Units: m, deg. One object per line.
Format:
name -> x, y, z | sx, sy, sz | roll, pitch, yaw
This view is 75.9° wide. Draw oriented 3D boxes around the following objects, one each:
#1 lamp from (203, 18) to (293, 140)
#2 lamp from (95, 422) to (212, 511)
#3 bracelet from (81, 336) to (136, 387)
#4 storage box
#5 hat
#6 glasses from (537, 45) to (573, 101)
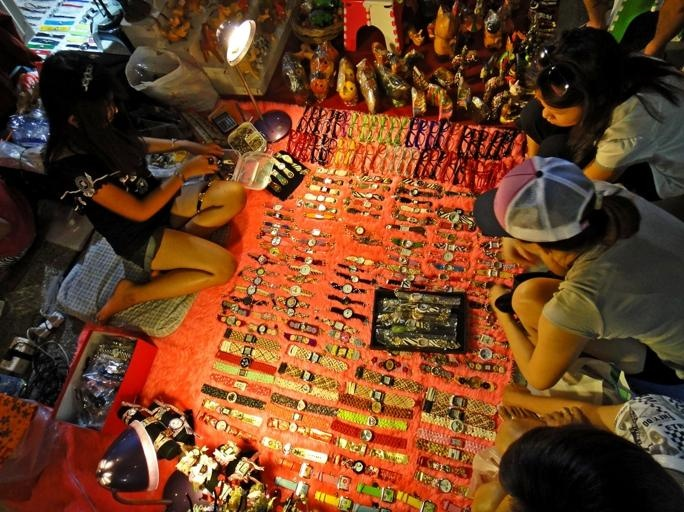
lamp -> -1.015, -1.821, 4.614 | 0.607, 1.372, 0.503 | 24, 88, 21
lamp -> -1.433, 1.684, 3.461 | 0.744, 0.529, 0.628 | 20, 67, 11
bracelet -> -1.988, 0.890, 3.838 | 0.386, 0.148, 0.439 | 5, 53, 8
storage box -> -2.013, 1.087, 3.960 | 0.659, 0.543, 0.850 | 16, 74, 7
hat -> 1.236, -0.333, 2.679 | 0.488, 0.329, 0.559 | -23, 66, -9
glasses -> 1.465, -1.302, 3.063 | 0.206, 0.213, 0.481 | 7, 65, 5
